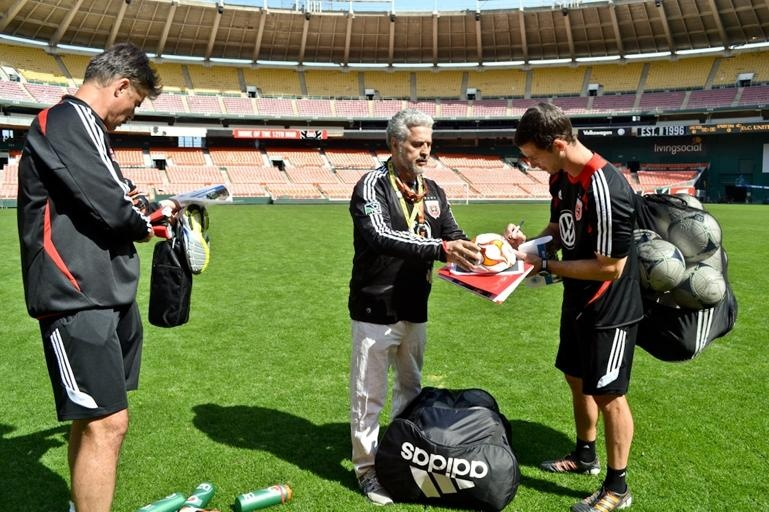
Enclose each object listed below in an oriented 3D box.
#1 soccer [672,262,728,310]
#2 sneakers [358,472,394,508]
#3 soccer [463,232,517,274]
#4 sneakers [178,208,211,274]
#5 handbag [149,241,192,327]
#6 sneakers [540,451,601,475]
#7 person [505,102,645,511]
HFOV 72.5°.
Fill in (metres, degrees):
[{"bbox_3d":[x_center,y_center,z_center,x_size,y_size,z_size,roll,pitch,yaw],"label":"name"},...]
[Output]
[{"bbox_3d":[2.215,0.224,3.661,0.350,0.316,0.128,-2,15,-8],"label":"soccer"},{"bbox_3d":[-0.077,1.685,3.757,0.121,0.137,0.320,0,0,-37],"label":"sneakers"},{"bbox_3d":[0.809,-0.056,3.878,0.315,0.344,0.420,4,8,45],"label":"soccer"},{"bbox_3d":[-1.385,-0.143,3.860,0.176,0.521,0.214,-9,-5,-39],"label":"sneakers"},{"bbox_3d":[-1.519,0.185,3.706,0.287,0.601,0.256,0,15,-2],"label":"handbag"},{"bbox_3d":[1.447,1.640,4.136,0.474,0.199,0.175,4,-13,8],"label":"sneakers"},{"bbox_3d":[1.445,0.328,3.764,0.661,2.788,1.085,-10,18,-36],"label":"person"}]
